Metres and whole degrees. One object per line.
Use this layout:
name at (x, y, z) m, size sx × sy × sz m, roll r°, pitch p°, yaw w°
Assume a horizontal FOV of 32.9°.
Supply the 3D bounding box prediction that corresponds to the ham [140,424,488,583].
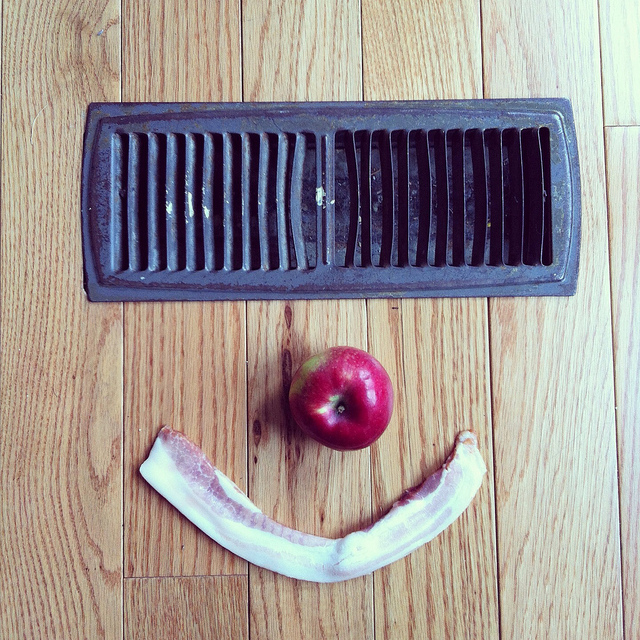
ham at (-0.006, 0.206, 1.226) m, size 0.394 × 0.050 × 0.173 m, roll 2°, pitch 83°, yaw -7°

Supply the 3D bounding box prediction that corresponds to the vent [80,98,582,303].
vent at (0.013, -0.140, 1.244) m, size 0.576 × 0.087 × 0.227 m, roll 1°, pitch 83°, yaw -7°
